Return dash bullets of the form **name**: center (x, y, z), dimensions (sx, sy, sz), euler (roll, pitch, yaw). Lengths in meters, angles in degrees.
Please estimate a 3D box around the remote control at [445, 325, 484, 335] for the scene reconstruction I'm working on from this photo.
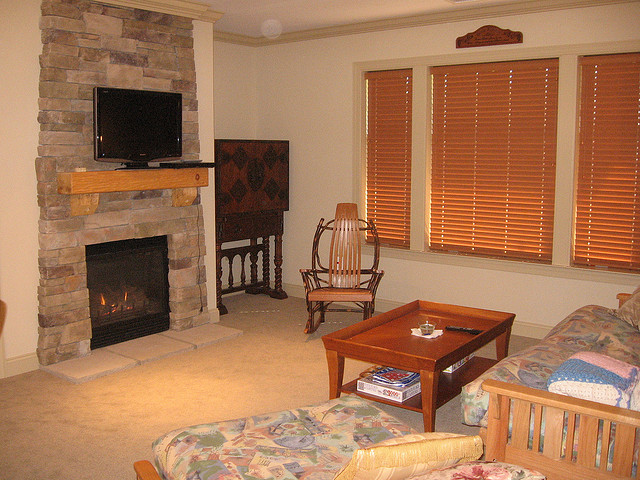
- **remote control**: center (1.101, 0.692, 3.814), dimensions (0.351, 0.076, 0.076), euler (3, -14, 12)

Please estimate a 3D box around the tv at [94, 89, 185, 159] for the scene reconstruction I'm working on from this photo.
- **tv**: center (-1.696, -1.039, 4.644), dimensions (0.109, 0.687, 1.003), euler (12, 16, 26)

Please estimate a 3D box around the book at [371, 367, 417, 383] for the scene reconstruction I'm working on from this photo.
- **book**: center (0.512, 0.933, 3.443), dimensions (0.225, 0.019, 0.228), euler (8, 12, 33)

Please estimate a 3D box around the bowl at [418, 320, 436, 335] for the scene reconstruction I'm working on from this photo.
- **bowl**: center (0.805, 0.651, 3.742), dimensions (0.131, 0.074, 0.123), euler (0, -1, 0)

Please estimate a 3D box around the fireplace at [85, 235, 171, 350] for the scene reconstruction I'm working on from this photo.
- **fireplace**: center (-1.881, 0.494, 4.904), dimensions (0.547, 0.919, 0.838), euler (4, 4, 30)
